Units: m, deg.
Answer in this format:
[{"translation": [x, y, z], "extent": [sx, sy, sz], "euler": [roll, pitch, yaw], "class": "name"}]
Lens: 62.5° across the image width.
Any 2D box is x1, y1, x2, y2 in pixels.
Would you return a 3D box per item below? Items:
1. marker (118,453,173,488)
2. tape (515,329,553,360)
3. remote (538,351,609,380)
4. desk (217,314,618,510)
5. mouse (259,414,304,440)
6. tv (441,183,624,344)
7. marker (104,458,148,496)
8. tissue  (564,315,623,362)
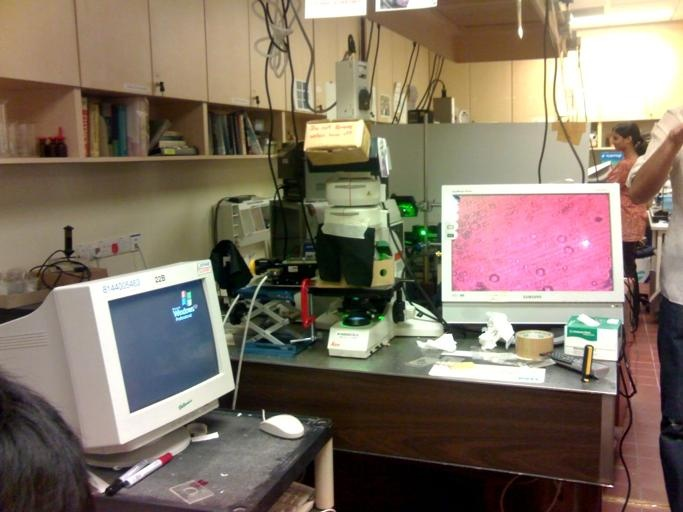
[{"translation": [-0.524, 0.576, 1.509], "extent": [0.034, 0.022, 0.148], "euler": [10, 18, 21], "class": "marker"}, {"translation": [0.674, 0.310, 1.967], "extent": [0.103, 0.062, 0.104], "euler": [0, 2, 5], "class": "tape"}, {"translation": [0.781, 0.346, 1.891], "extent": [0.179, 0.055, 0.179], "euler": [-5, 10, -40], "class": "remote"}, {"translation": [0.308, 0.524, 1.885], "extent": [1.143, 0.573, 0.863], "euler": [5, 8, 26], "class": "desk"}, {"translation": [-0.167, 0.502, 1.689], "extent": [0.102, 0.034, 0.063], "euler": [6, 4, 34], "class": "mouse"}, {"translation": [0.714, -0.008, 2.126], "extent": [0.642, 0.548, 0.065], "euler": [-1, -12, 15], "class": "tv"}, {"translation": [-0.555, 0.578, 1.477], "extent": [0.035, 0.020, 0.117], "euler": [9, 13, 19], "class": "marker"}, {"translation": [0.874, 0.273, 2.034], "extent": [0.188, 0.141, 0.243], "euler": [4, 7, 23], "class": "tissue "}]
